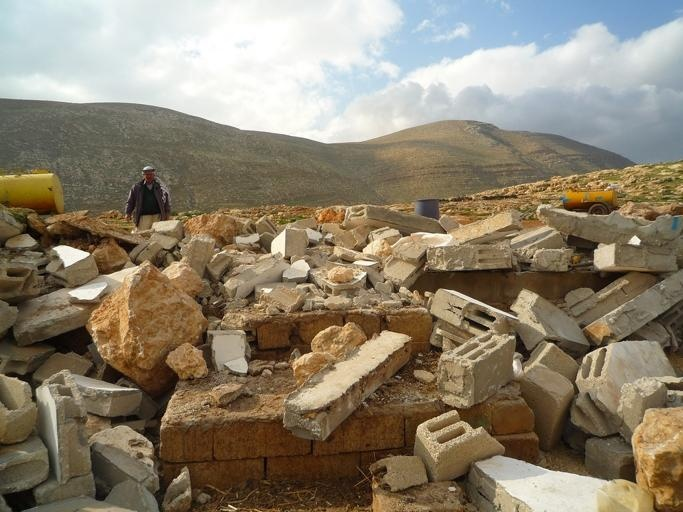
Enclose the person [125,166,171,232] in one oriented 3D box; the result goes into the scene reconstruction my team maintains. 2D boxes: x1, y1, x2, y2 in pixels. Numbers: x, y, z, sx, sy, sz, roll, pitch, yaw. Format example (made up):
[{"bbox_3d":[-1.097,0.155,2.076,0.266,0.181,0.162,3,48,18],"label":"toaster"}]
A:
[{"bbox_3d":[-3.731,-1.077,8.310,0.822,1.158,0.574,-1,12,17],"label":"person"}]
